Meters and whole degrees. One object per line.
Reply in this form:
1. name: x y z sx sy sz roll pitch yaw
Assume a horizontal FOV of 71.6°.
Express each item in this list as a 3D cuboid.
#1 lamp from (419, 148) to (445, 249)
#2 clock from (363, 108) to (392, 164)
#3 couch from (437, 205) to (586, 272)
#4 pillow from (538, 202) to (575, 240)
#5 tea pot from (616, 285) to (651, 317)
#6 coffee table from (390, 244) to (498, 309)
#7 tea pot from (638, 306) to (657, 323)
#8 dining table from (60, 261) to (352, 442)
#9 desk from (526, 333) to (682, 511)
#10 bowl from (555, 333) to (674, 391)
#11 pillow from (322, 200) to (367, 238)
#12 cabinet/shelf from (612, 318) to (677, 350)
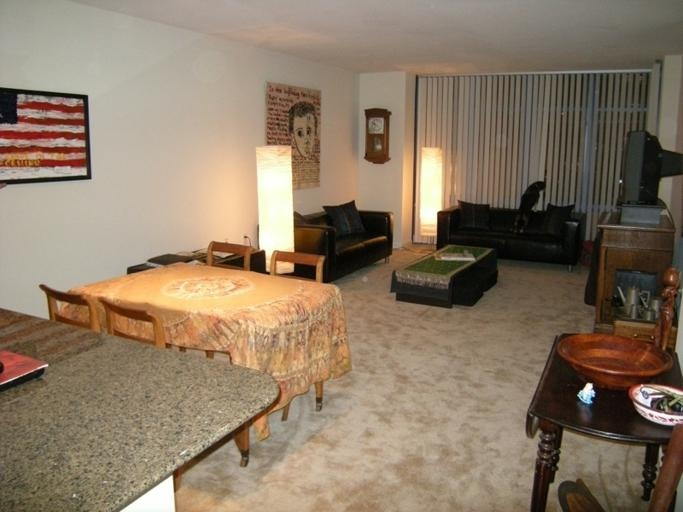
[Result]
1. lamp: 1.527 -1.152 8.409 0.426 1.493 0.424 -16 26 -25
2. clock: 0.642 -2.157 8.506 0.460 0.932 0.226 3 9 1
3. couch: 2.758 -0.399 7.809 2.116 0.978 0.906 6 12 27
4. pillow: 3.322 -0.570 7.301 0.149 0.492 0.496 16 -4 -30
5. tea pot: 2.507 0.390 4.046 0.170 0.263 0.237 -17 18 -35
6. coffee table: 1.368 0.241 6.127 0.947 0.571 1.471 8 10 31
7. tea pot: 2.508 0.484 3.866 0.123 0.094 0.077 2 5 37
8. dining table: -0.933 0.615 3.421 1.644 0.811 1.190 6 10 23
9. desk: 1.161 0.755 2.074 0.539 0.621 0.818 4 15 20
10. bowl: 1.159 0.421 1.961 0.286 0.093 0.298 -5 18 2
11. pillow: 0.063 -0.573 7.489 0.591 0.553 0.179 -13 -14 -45
12. cabinet/shelf: 1.914 0.485 2.965 0.348 0.260 0.228 2 6 30
